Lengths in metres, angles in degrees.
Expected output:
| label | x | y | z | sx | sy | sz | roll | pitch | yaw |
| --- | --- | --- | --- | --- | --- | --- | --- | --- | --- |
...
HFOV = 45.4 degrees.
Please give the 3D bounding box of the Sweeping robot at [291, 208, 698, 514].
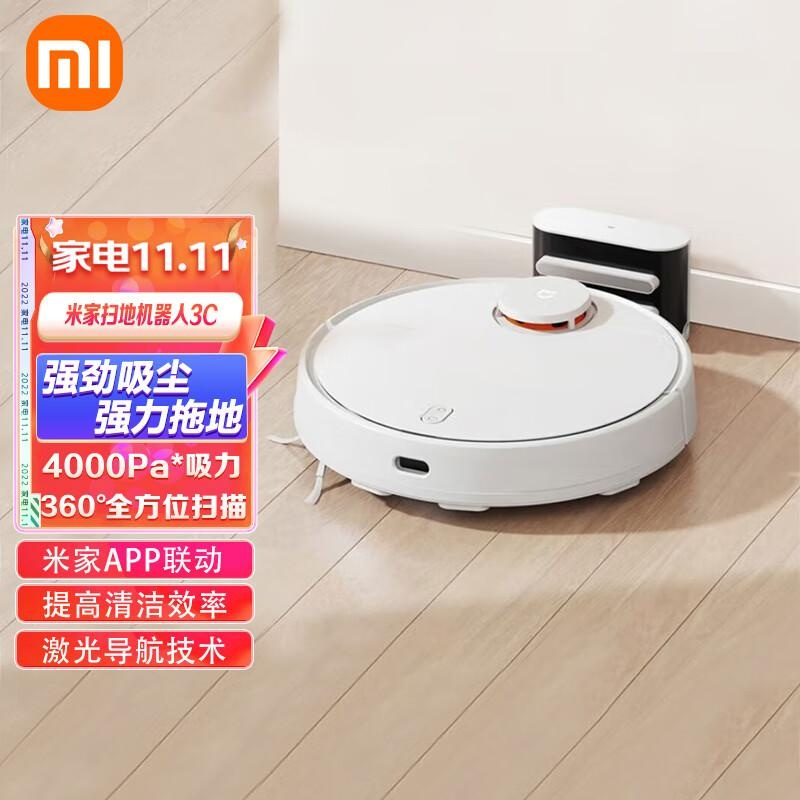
| label | x | y | z | sx | sy | sz | roll | pitch | yaw |
| --- | --- | --- | --- | --- | --- | --- | --- | --- | --- |
| Sweeping robot | 0.167 | -0.071 | 1.333 | 0.523 | 0.180 | 0.503 | 19 | 48 | 26 |
